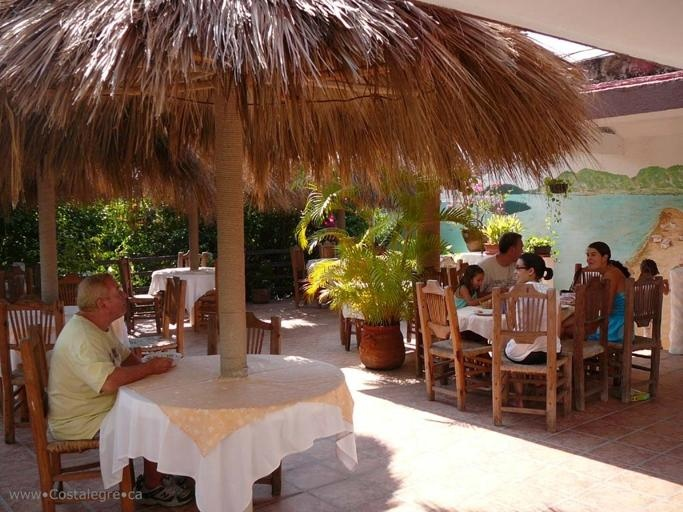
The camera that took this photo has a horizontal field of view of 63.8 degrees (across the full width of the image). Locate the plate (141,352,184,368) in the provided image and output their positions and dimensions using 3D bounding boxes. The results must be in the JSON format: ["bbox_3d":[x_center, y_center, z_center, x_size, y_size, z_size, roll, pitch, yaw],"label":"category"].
[{"bbox_3d":[-1.324,0.744,4.049,0.232,0.084,0.141,-1,-1,17],"label":"plate"}]

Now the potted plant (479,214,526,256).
[{"bbox_3d":[3.624,-0.508,12.418,0.958,1.047,0.962,2,4,36],"label":"potted plant"}]

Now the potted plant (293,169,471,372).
[{"bbox_3d":[0.740,0.222,7.913,2.445,2.787,2.061,8,17,9],"label":"potted plant"}]

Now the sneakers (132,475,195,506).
[{"bbox_3d":[-1.320,1.766,4.228,0.494,0.257,0.188,1,1,-1],"label":"sneakers"}]

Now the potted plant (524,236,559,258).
[{"bbox_3d":[4.138,-0.233,11.560,0.529,0.320,0.553,2,-2,-22],"label":"potted plant"}]
